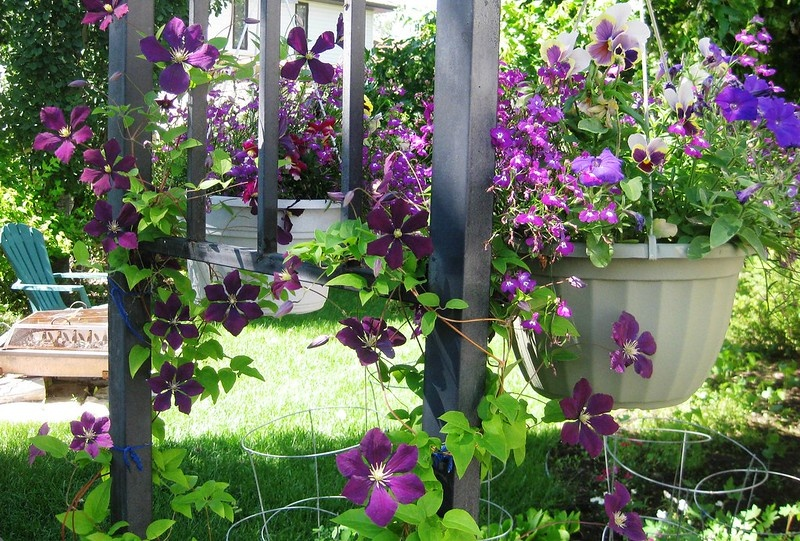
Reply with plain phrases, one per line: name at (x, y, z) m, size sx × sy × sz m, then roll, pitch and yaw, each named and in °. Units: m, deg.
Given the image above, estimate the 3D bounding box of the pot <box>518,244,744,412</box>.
pot at (0.651, 0.180, 2.104) m, size 0.613 × 0.464 × 0.658 m, roll -1°, pitch -2°, yaw 0°

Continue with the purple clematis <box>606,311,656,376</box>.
purple clematis at (0.603, 0.188, 1.800) m, size 0.139 × 0.162 × 0.043 m, roll -2°, pitch 0°, yaw -29°

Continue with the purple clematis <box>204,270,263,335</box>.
purple clematis at (-0.500, 0.090, 2.072) m, size 0.156 × 0.035 × 0.202 m, roll 3°, pitch 45°, yaw -22°

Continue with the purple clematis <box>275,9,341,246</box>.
purple clematis at (-0.282, -0.437, 2.084) m, size 0.219 × 0.753 × 0.104 m, roll 7°, pitch 9°, yaw 1°

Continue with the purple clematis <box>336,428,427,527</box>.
purple clematis at (-0.046, 0.507, 1.616) m, size 0.203 × 0.280 × 0.133 m, roll -2°, pitch 10°, yaw -12°

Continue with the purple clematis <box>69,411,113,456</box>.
purple clematis at (-1.062, 0.560, 2.332) m, size 0.161 × 0.043 × 0.151 m, roll 13°, pitch 31°, yaw -8°

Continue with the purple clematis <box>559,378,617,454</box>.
purple clematis at (0.479, 0.372, 1.752) m, size 0.144 × 0.209 × 0.113 m, roll 2°, pitch 10°, yaw 9°

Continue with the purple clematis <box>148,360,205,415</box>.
purple clematis at (-0.722, 0.373, 2.217) m, size 0.170 × 0.168 × 0.141 m, roll -2°, pitch 11°, yaw -13°

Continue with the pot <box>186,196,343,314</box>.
pot at (-0.759, -0.212, 3.712) m, size 0.764 × 0.555 × 0.802 m, roll 1°, pitch 3°, yaw 0°
